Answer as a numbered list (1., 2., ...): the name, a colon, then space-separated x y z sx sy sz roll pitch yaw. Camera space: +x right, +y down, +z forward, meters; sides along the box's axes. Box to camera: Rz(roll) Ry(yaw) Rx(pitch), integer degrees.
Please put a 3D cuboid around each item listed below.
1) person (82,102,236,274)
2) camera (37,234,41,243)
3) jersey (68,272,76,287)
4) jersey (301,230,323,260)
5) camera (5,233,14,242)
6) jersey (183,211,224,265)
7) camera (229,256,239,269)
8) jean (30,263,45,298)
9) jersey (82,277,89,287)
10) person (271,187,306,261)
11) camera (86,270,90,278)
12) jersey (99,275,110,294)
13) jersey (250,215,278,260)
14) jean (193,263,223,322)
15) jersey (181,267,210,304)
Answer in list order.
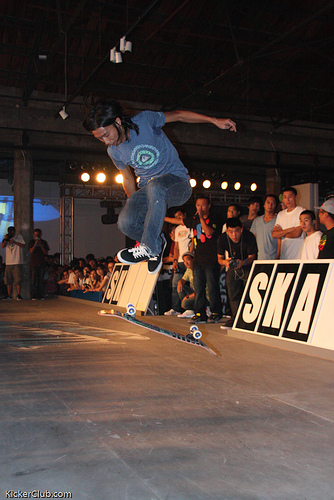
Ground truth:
1. person: 0.016 -0.517 3.624 1.137 1.273 0.865 -8 -10 29
2. camera: -3.515 -0.322 12.508 0.083 0.242 0.223 2 -3 -22
3. jersey: -2.585 0.772 12.416 0.085 0.340 0.424 2 -3 -24
4. jersey: 1.675 -0.056 5.293 0.200 0.374 0.381 -2 1 -17
5. camera: -4.054 -0.326 11.797 0.170 0.201 0.076 6 -29 7
6. jersey: 0.500 -0.174 6.837 0.475 0.775 0.679 4 -4 -41
7. camera: 0.842 0.146 5.773 0.110 0.146 0.194 0 -3 19
8. jean: -3.719 0.875 13.084 0.458 1.186 0.304 1 19 -21
9. jersey: -2.070 0.804 11.610 0.235 0.207 0.054 0 -14 28
10. person: 1.557 -0.354 5.846 0.369 0.957 0.638 2 -3 -16
11. camera: -2.026 0.593 11.712 0.056 0.175 0.212 3 -3 -25
12. jersey: -1.381 0.750 10.086 0.185 0.393 0.827 2 -3 -9
13. jersey: 1.343 -0.174 6.252 0.241 0.601 0.555 2 -3 -15
14. jean: 0.565 0.627 6.836 0.436 0.864 0.378 0 -3 18
15. jersey: 0.461 0.547 7.748 0.186 0.476 0.428 -17 11 -40
